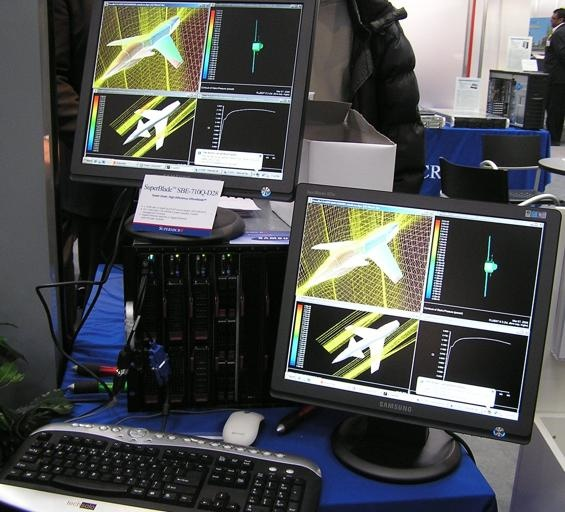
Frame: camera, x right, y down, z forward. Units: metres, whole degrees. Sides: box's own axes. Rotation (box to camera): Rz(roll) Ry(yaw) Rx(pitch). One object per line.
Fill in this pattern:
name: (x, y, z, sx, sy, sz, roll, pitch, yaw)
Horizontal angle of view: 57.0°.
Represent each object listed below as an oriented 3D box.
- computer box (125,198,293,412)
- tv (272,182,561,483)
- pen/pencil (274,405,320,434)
computer box: (-0.138, 0.105, 1.183, 0.333, 0.337, 0.453, -1, 12, -9)
tv: (0.217, 0.135, 0.908, 0.481, 0.504, 0.260, 7, 12, 21)
pen/pencil: (0.032, 0.297, 0.996, 0.026, 0.027, 0.125, 0, 9, 35)
